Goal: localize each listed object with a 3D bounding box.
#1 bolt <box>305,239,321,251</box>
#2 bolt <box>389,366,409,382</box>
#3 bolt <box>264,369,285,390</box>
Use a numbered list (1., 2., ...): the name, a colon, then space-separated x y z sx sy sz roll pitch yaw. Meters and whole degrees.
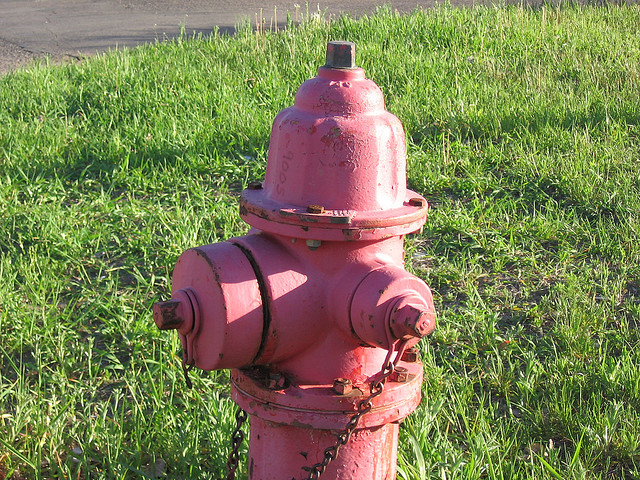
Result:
1. bolt: -0.029 0.021 4.089 0.037 0.053 0.046 -3 14 -13
2. bolt: 0.354 0.604 4.199 0.057 0.047 0.055 -2 4 -23
3. bolt: -0.201 0.613 4.154 0.065 0.086 0.066 -1 6 -9
